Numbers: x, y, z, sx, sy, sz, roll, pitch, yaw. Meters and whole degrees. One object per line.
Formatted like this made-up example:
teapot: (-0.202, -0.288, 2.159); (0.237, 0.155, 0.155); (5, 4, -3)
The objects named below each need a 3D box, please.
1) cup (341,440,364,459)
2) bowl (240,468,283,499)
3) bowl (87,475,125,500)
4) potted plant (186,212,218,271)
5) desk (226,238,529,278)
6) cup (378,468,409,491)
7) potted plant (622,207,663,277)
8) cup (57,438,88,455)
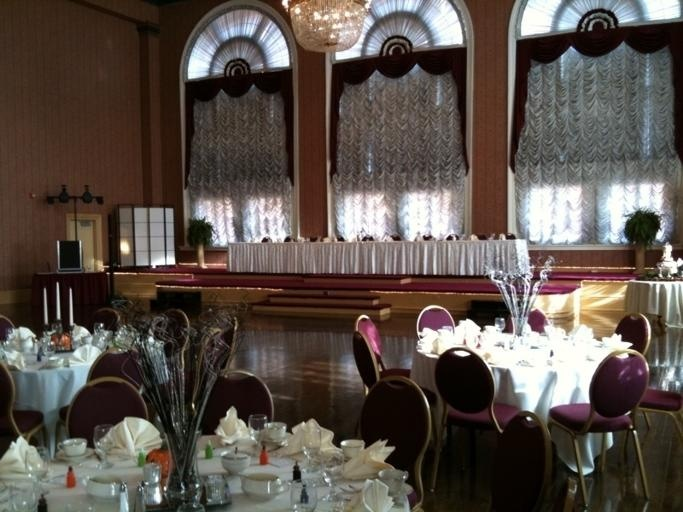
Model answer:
cup: (0.058, 1.001, 3.019); (0.079, 0.068, 0.091); (-1, 0, 5)
bowl: (-0.383, 1.064, 2.754); (0.193, 0.124, 0.294); (-3, -1, -13)
bowl: (-1.079, 1.049, 2.616); (0.111, 0.066, 0.125); (10, -3, -13)
potted plant: (-3.895, -0.408, 15.853); (0.766, 1.403, 0.531); (-2, 0, 19)
desk: (0.626, 0.020, 11.909); (6.138, 0.823, 0.521); (-4, -1, 18)
cup: (0.234, 1.028, 2.645); (0.108, 0.098, 0.188); (-1, -11, 5)
potted plant: (6.274, -0.330, 11.926); (0.685, 1.321, 0.497); (-2, 0, 25)
cup: (-1.396, 0.991, 3.037); (0.077, 0.057, 0.109); (0, -12, -3)
